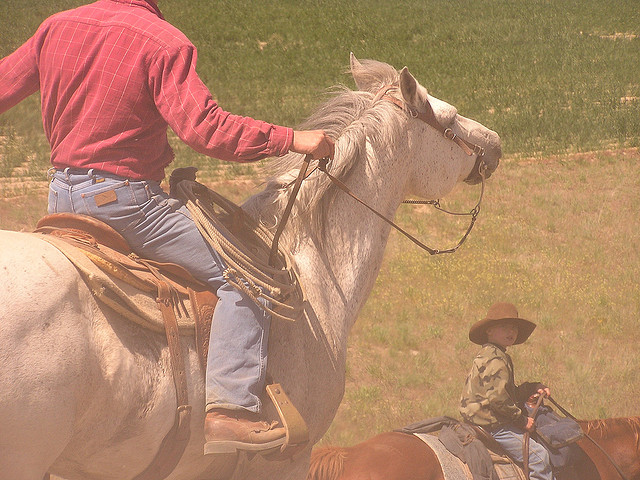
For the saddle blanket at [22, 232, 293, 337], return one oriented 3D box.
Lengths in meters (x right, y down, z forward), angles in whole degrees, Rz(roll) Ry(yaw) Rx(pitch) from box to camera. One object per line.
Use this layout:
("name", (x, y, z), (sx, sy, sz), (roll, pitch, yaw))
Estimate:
("saddle blanket", (-3.736, 0.836, 26.535), (2.907, 1.741, 0.568), (5, 35, 10))
